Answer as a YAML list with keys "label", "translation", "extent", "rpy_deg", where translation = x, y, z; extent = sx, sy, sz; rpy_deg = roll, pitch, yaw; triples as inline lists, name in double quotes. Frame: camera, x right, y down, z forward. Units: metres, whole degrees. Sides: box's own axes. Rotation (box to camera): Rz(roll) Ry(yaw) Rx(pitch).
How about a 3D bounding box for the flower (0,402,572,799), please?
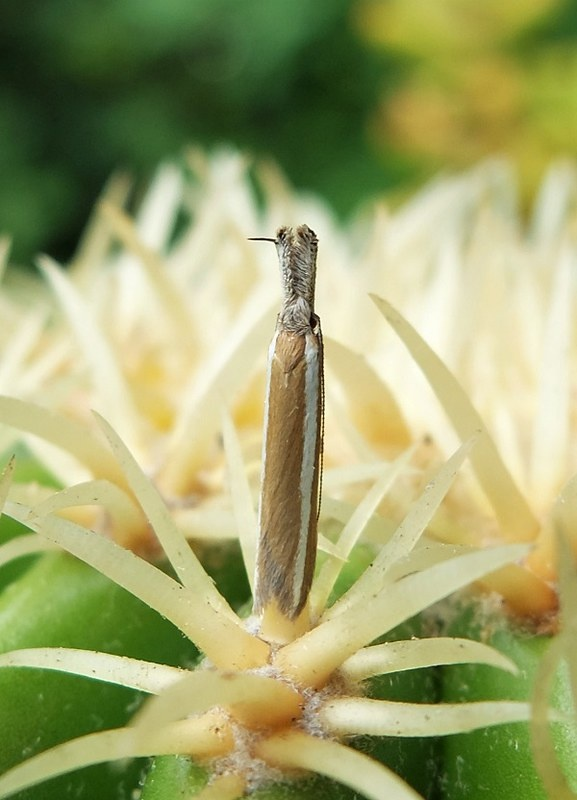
- label: "flower"
  translation: [-0.001, 0.040, 0.330]
  extent: [0.151, 0.040, 0.141]
  rpy_deg: [-10, 16, -28]
